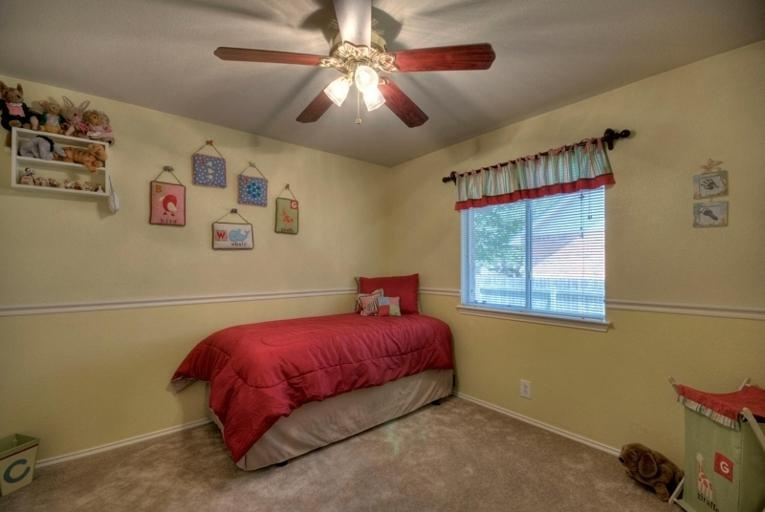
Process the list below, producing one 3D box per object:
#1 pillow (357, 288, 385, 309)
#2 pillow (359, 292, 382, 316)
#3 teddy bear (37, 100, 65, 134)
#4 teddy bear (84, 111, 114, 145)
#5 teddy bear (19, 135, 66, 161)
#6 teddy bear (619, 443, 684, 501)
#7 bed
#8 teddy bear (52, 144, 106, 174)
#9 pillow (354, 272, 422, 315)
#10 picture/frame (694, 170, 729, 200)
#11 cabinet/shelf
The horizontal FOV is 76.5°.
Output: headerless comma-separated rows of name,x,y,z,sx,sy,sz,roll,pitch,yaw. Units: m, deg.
pillow,-0.133,0.445,5.289,0.090,0.211,0.297,24,-22,-24
pillow,-0.136,0.518,5.226,0.227,0.240,0.072,-7,-22,35
teddy bear,-2.834,-1.185,4.115,0.227,0.293,0.092,0,2,-21
teddy bear,-2.489,-1.141,4.241,0.209,0.266,0.100,12,-7,-25
teddy bear,-2.866,-0.903,4.067,0.246,0.115,0.193,1,45,-23
teddy bear,2.252,1.747,4.005,0.677,0.302,0.496,11,-11,-13
bed,-0.499,1.117,4.505,1.926,0.663,1.231,-2,0,-38
teddy bear,-2.622,-0.844,4.194,0.291,0.149,0.234,14,27,-48
pillow,0.072,0.456,5.460,0.699,0.477,0.237,0,10,-2
picture/frame,2.621,-0.566,3.843,0.226,0.247,0.041,3,3,43
cabinet/shelf,-2.741,-0.777,4.098,0.649,0.490,0.219,1,-3,-41
